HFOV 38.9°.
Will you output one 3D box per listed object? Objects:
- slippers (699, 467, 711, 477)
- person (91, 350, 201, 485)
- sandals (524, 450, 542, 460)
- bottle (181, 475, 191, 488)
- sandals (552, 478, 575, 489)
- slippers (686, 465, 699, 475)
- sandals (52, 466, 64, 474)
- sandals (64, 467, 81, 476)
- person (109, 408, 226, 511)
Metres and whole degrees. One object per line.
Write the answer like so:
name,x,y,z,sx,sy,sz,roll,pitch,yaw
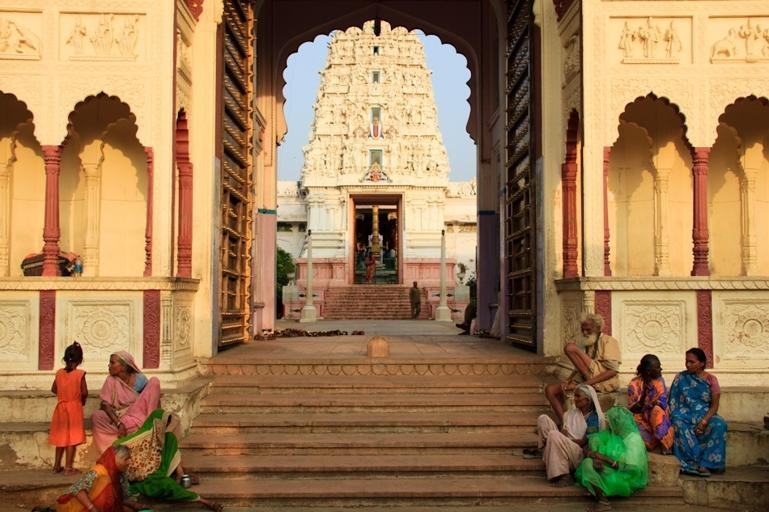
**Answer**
slippers,3.593,2.416,12.084,0.152,0.089,0.062,2,-5,-22
person,-2.721,1.892,12.300,1.099,1.335,0.925,-10,-17,-15
sandals,1.713,2.311,12.479,0.209,0.072,0.076,-1,3,12
bottle,-2.175,2.506,12.019,0.124,0.128,0.120,0,-8,-4
sandals,1.997,2.535,12.047,0.210,0.084,0.113,3,5,3
slippers,3.435,2.401,12.129,0.186,0.064,0.080,3,8,41
sandals,-3.695,2.460,12.396,0.075,0.034,0.102,1,5,-5
sandals,-3.507,2.473,12.337,0.211,0.078,0.068,-1,2,-6
person,-2.465,2.241,11.898,1.308,0.891,0.814,2,-7,2
